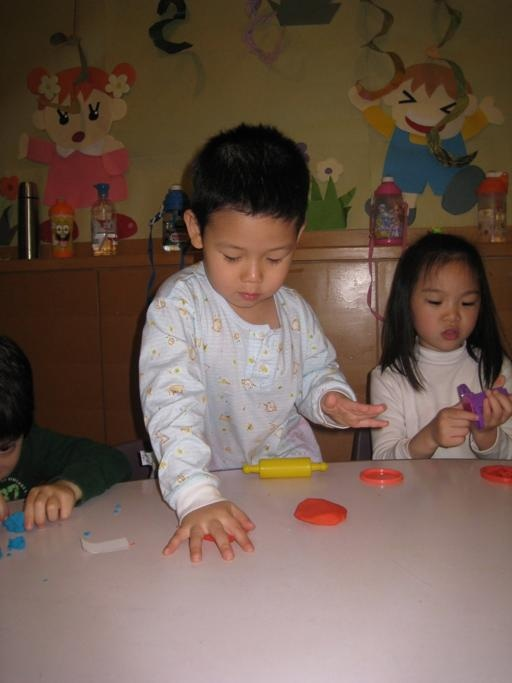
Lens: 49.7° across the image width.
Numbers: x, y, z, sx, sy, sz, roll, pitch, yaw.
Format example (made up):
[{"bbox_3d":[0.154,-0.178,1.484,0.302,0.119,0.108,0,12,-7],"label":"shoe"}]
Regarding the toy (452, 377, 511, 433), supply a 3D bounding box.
[{"bbox_3d":[0.364,0.110,0.931,0.036,0.072,0.067,-1,8,2],"label":"toy"}]
